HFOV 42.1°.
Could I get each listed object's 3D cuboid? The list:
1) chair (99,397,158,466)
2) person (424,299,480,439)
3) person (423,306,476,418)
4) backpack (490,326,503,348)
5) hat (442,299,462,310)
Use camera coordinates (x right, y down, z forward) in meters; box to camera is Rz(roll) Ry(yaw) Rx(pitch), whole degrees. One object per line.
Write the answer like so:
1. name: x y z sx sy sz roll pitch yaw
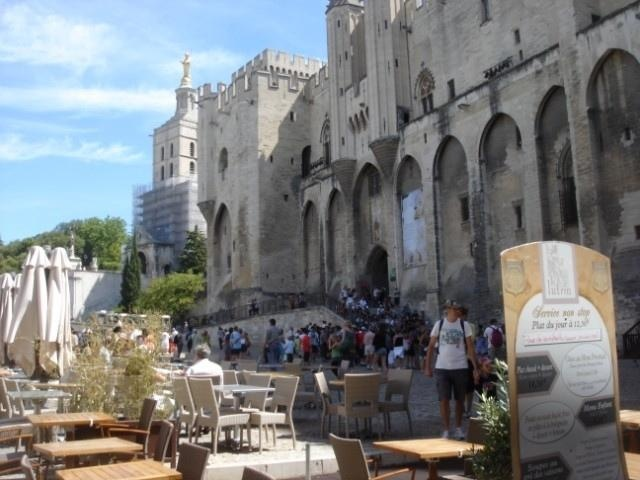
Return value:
1. chair: -2.695 2.753 11.631 0.685 1.062 0.637 4 -5 -28
2. person: 2.123 2.100 13.565 0.780 2.297 0.686 1 -5 -8
3. person: 2.122 2.092 13.526 0.831 2.292 0.711 0 -2 0
4. backpack: 4.524 2.495 21.264 0.277 0.513 0.657 -2 -9 11
5. hat: 2.118 1.068 13.605 0.275 0.153 0.379 3 -7 -20
